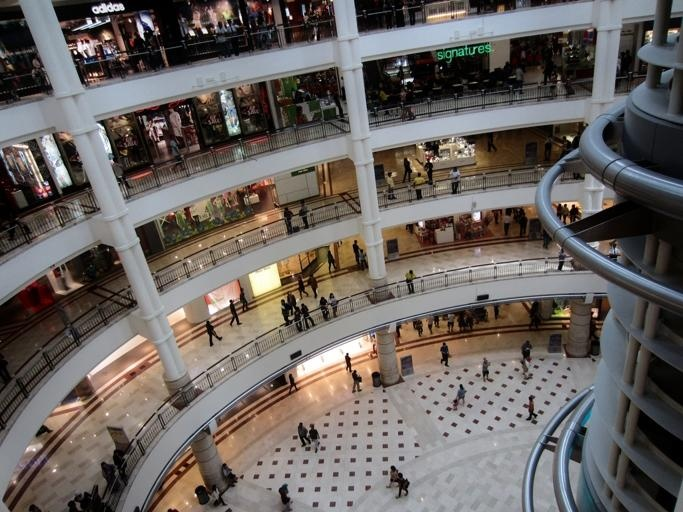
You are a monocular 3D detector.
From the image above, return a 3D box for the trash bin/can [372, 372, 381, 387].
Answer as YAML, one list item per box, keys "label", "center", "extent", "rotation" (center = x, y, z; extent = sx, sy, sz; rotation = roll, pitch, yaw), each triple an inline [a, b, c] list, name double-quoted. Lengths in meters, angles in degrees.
- label: "trash bin/can"
  center: [1.721, 5.870, 25.866]
  extent: [0.547, 0.660, 0.577]
  rotation: [-1, 20, 1]
